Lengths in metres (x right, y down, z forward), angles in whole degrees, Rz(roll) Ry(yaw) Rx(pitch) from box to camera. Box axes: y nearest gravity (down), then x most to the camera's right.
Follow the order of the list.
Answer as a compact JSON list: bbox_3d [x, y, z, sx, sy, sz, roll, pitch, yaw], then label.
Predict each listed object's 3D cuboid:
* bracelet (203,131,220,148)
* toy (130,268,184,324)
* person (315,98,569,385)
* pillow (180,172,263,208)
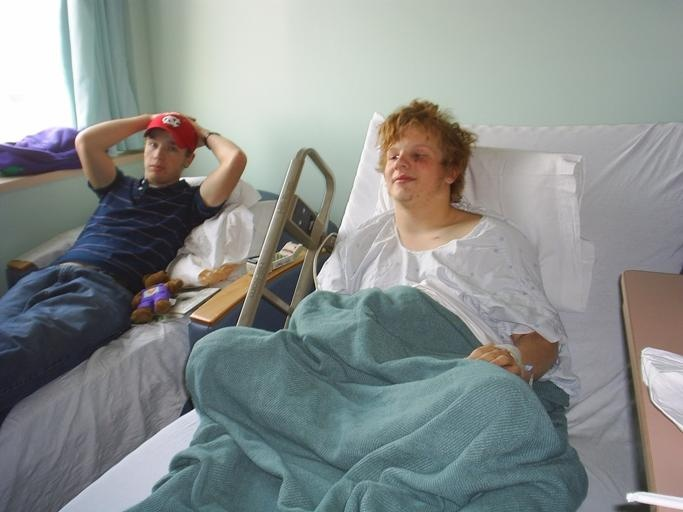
[{"bbox_3d":[-0.721,-0.631,2.600,0.112,0.098,0.044,6,11,22],"label":"bracelet"},{"bbox_3d":[-0.836,0.183,2.163,0.159,0.081,0.260,-32,22,-13],"label":"toy"},{"bbox_3d":[0.270,-0.009,1.828,0.910,1.089,0.678,-2,5,32],"label":"person"},{"bbox_3d":[-0.644,-0.326,2.560,0.325,0.248,0.077,7,-9,-36],"label":"pillow"}]
